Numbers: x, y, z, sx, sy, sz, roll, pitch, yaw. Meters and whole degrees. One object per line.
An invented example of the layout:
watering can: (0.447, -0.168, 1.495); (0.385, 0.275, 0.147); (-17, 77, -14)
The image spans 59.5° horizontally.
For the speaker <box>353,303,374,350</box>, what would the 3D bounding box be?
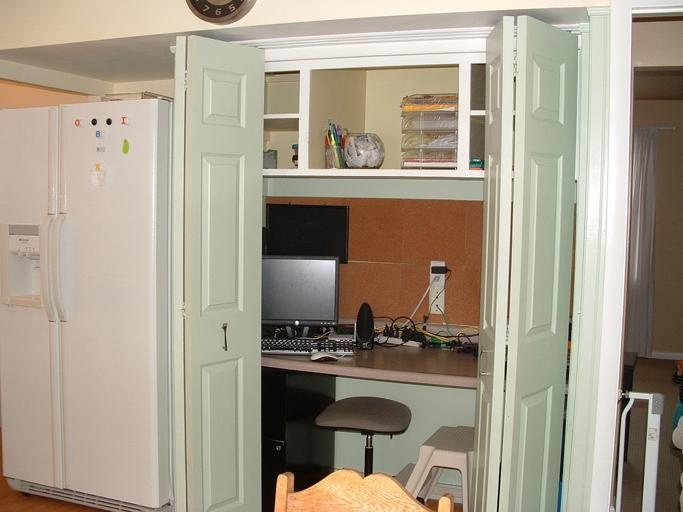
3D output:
speaker: (0.149, 0.423, 3.680); (0.119, 0.272, 0.099); (-2, 8, -6)

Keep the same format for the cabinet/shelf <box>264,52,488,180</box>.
cabinet/shelf: (0.257, -0.891, 3.846); (1.153, 0.764, 1.077); (1, 8, 12)

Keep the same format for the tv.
tv: (-0.260, 0.249, 3.830); (0.472, 0.500, 0.191); (1, -7, 3)

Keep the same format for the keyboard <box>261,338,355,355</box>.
keyboard: (-0.195, 0.539, 3.575); (0.553, 0.071, 0.319); (-2, 8, -7)

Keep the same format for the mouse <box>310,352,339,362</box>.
mouse: (-0.091, 0.561, 3.390); (0.108, 0.030, 0.067); (-1, 4, -19)

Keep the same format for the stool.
stool: (0.299, 1.102, 3.655); (0.990, 0.657, 0.591); (-2, 0, 11)

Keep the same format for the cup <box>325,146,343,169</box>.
cup: (-0.035, -0.589, 3.576); (0.089, 0.137, 0.238); (-2, 8, -9)

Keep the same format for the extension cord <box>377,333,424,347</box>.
extension cord: (0.363, 0.536, 3.779); (0.305, 0.033, 0.135); (1, 8, 15)
